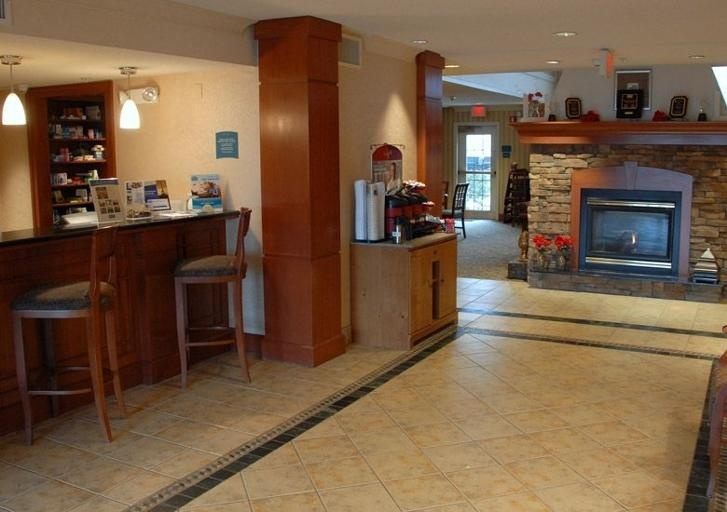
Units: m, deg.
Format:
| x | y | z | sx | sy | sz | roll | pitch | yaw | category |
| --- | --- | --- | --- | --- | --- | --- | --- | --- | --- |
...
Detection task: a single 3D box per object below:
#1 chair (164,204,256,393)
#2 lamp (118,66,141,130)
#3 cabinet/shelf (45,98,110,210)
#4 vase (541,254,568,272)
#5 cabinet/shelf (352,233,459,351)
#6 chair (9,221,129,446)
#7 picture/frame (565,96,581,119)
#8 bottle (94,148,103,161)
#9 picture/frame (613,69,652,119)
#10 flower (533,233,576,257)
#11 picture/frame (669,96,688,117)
| x | y | z | sx | sy | sz | roll | pitch | yaw | category |
| --- | --- | --- | --- | --- | --- | --- | --- | --- | --- |
| -1.318 | 0.322 | 4.757 | 0.677 | 1.506 | 0.846 | -5 | 14 | -16 | chair |
| -2.340 | -1.548 | 5.381 | 0.201 | 0.558 | 0.780 | -6 | 14 | -22 | lamp |
| -4.013 | -1.576 | 7.495 | 0.696 | 1.515 | 0.232 | -10 | 25 | -33 | cabinet/shelf |
| 2.762 | 0.090 | 7.926 | 0.438 | 0.265 | 0.251 | 6 | 12 | 44 | vase |
| 0.462 | 0.349 | 5.648 | 1.157 | 1.058 | 0.616 | -11 | 17 | -39 | cabinet/shelf |
| -2.104 | 0.511 | 3.924 | 0.764 | 1.484 | 0.857 | -1 | 13 | 0 | chair |
| 2.937 | -2.079 | 7.607 | 0.253 | 0.306 | 0.148 | 3 | 14 | 14 | picture/frame |
| -3.617 | -1.406 | 7.401 | 0.112 | 0.150 | 0.301 | -9 | 15 | -31 | bottle |
| 3.616 | -2.191 | 7.329 | 0.443 | 0.647 | 0.177 | 3 | 14 | 17 | picture/frame |
| 2.750 | -0.168 | 7.863 | 0.456 | 0.186 | 0.399 | 3 | 6 | 33 | flower |
| 4.139 | -1.966 | 7.129 | 0.211 | 0.306 | 0.123 | 6 | 15 | 25 | picture/frame |
